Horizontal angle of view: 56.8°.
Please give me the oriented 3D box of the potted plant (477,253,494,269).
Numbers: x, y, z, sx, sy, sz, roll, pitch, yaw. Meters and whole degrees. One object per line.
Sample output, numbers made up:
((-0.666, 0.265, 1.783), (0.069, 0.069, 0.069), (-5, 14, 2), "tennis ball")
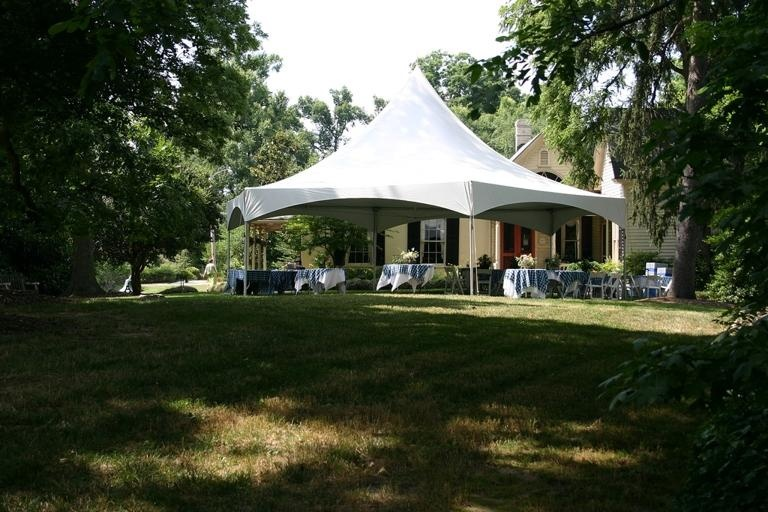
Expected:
((3.402, 0.209, 23.639), (0.502, 0.373, 0.520), (-4, -8, 38), "potted plant")

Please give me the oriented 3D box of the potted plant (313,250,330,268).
((-2.174, 0.128, 25.131), (0.601, 0.638, 0.621), (2, -10, -2), "potted plant")

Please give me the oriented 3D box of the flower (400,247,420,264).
((0.835, -0.065, 23.450), (0.571, 0.404, 0.577), (1, -8, -4), "flower")

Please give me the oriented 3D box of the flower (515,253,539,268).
((4.486, 0.164, 22.376), (0.448, 0.467, 0.443), (2, -9, -11), "flower")
